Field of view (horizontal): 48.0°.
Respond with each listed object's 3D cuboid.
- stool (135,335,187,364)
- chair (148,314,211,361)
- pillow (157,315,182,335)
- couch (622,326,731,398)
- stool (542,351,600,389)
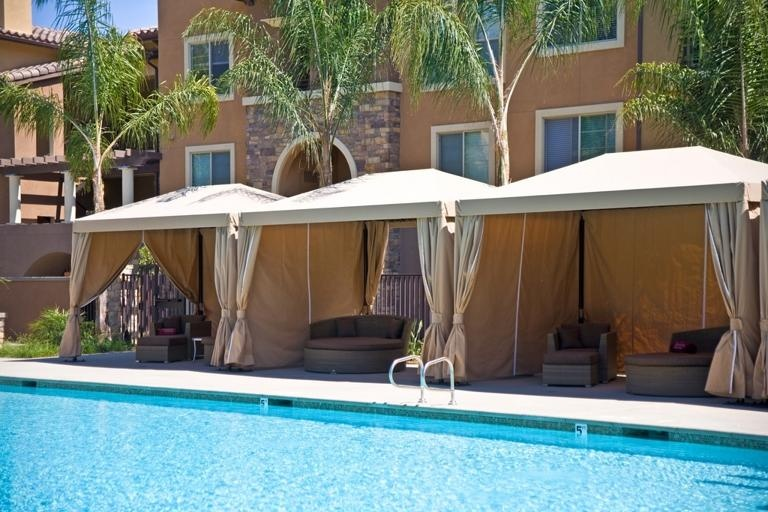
[{"bbox_3d":[-5.118,2.147,19.923,0.565,0.515,0.900,0,-2,17],"label":"stool"},{"bbox_3d":[-5.038,1.932,20.555,1.225,1.120,1.690,-3,-5,29],"label":"chair"},{"bbox_3d":[-5.189,1.673,20.682,0.395,0.474,0.404,0,-3,6],"label":"pillow"},{"bbox_3d":[5.405,1.889,15.838,1.321,0.930,2.153,7,13,41],"label":"couch"},{"bbox_3d":[3.508,2.127,16.359,1.036,0.671,0.584,0,10,11],"label":"stool"}]
